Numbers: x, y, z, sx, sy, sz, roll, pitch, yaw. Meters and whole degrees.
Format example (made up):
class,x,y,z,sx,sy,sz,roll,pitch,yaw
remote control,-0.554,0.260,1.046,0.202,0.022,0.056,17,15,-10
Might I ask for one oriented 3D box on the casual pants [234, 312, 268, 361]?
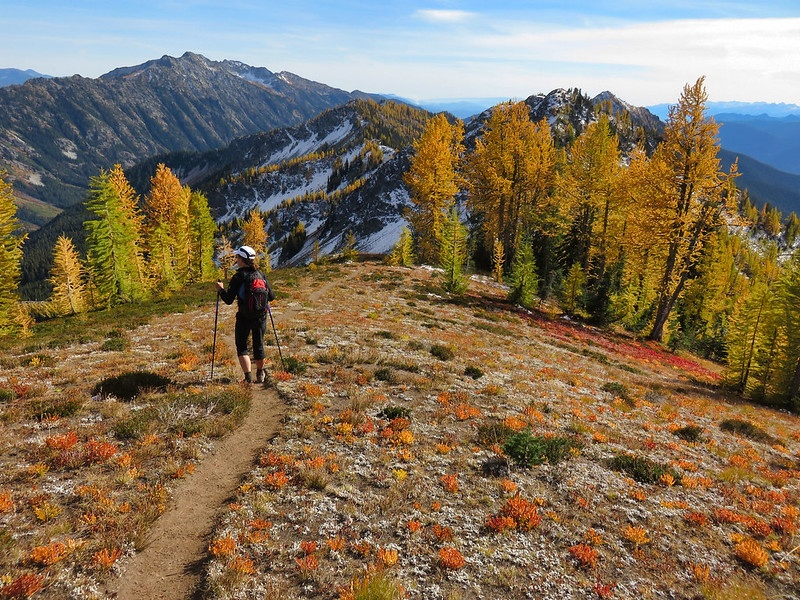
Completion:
class,x,y,z,sx,sy,sz,roll,pitch,yaw
casual pants,-7.537,1.872,33.459,1.774,1.675,3.952,4,-23,-19
